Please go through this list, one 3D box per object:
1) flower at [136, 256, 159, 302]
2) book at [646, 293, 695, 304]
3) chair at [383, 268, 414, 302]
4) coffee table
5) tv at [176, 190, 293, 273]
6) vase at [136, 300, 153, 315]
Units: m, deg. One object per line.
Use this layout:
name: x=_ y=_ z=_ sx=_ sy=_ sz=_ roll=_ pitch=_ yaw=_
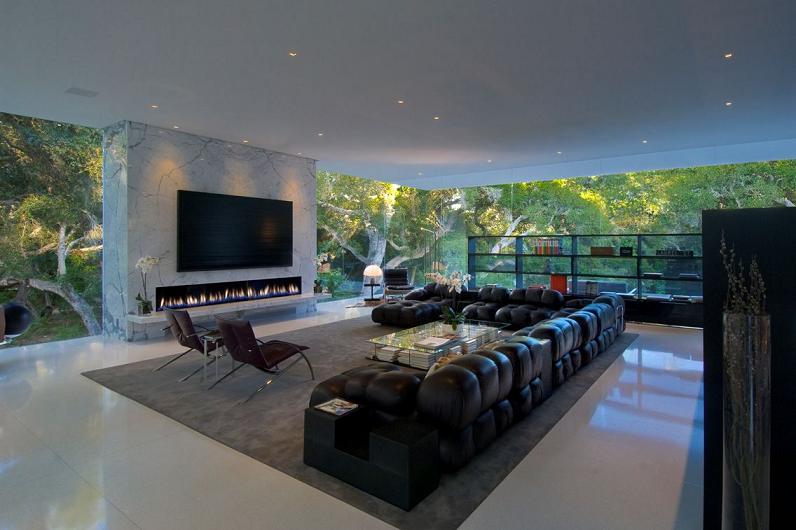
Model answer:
flower: x=-4.424 y=0.211 z=8.026 sx=0.412 sy=0.818 sz=0.365 roll=-11 pitch=17 yaw=-36
book: x=5.642 y=0.681 z=9.154 sx=0.960 sy=0.086 sz=0.444 roll=3 pitch=13 yaw=16
chair: x=0.078 y=0.486 z=11.934 sx=0.664 sy=0.839 sz=0.860 roll=0 pitch=-3 yaw=-9
coffee table: x=-0.235 y=1.653 z=4.057 sx=1.184 sy=0.613 sz=0.459 roll=7 pitch=15 yaw=28
tv: x=-3.392 y=-0.695 z=9.075 sx=0.063 sy=1.076 sz=1.790 roll=5 pitch=5 yaw=40
vase: x=-4.419 y=0.742 z=7.890 sx=0.246 sy=0.317 sz=0.270 roll=-1 pitch=-1 yaw=23
